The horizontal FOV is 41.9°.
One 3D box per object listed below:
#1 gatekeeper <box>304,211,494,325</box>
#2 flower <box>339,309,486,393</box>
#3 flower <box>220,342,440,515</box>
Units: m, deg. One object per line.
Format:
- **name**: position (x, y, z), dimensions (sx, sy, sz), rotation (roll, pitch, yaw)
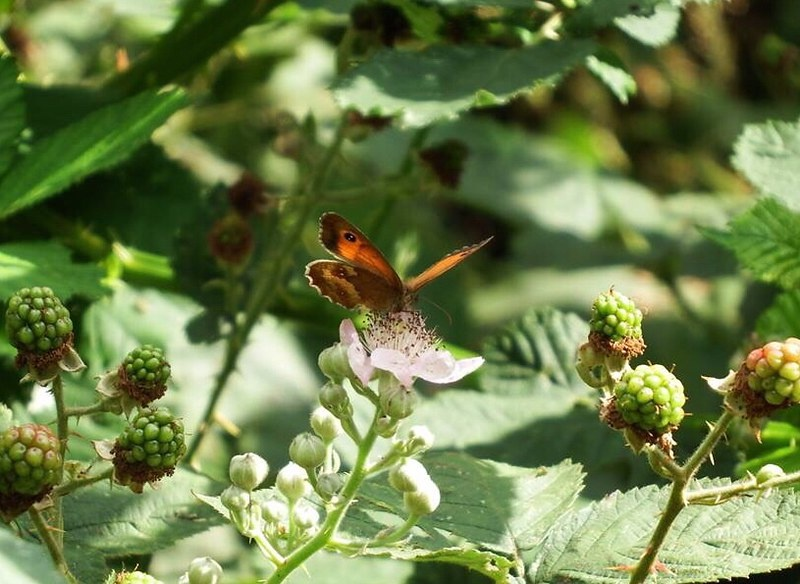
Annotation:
- **gatekeeper**: position (-0.040, -0.109, 2.827), dimensions (0.325, 0.204, 0.348), rotation (21, -14, -17)
- **flower**: position (-0.010, 0.152, 2.721), dimensions (0.244, 0.112, 0.228), rotation (8, 3, -43)
- **flower**: position (-0.142, 0.375, 2.719), dimensions (0.538, 0.442, 0.268), rotation (11, 1, 4)
